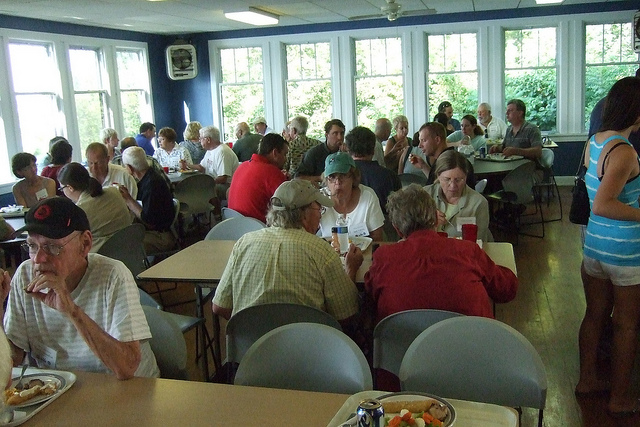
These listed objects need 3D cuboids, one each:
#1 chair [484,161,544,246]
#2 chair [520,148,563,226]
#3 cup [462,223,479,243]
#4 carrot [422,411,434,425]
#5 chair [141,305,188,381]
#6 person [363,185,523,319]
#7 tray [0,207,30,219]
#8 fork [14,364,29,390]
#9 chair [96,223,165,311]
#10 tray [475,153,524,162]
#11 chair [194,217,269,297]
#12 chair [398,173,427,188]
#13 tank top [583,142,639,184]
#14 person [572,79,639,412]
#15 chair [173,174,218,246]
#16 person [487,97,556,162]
[{"bbox_3d":[2.483,-0.274,6.774,0.681,1.011,1.725,1,17,21],"label":"chair"},{"bbox_3d":[2.990,-0.354,7.210,0.545,0.743,0.531,-9,-9,-33],"label":"chair"},{"bbox_3d":[0.902,0.115,3.230,0.090,0.119,0.097,-1,3,0],"label":"cup"},{"bbox_3d":[0.424,0.809,2.093,0.033,0.009,0.035,3,14,31],"label":"carrot"},{"bbox_3d":[-0.805,0.676,2.792,0.151,0.333,0.334,-13,17,-27],"label":"chair"},{"bbox_3d":[0.619,0.234,2.865,0.777,0.673,0.556,1,16,20],"label":"person"},{"bbox_3d":[-2.997,-0.004,5.285,0.218,0.049,0.237,-8,16,-10],"label":"tray"},{"bbox_3d":[-1.314,0.727,2.355,0.024,0.018,0.120,-5,32,-4],"label":"fork"},{"bbox_3d":[-1.586,0.290,4.368,0.163,0.388,0.456,4,18,28],"label":"chair"},{"bbox_3d":[2.244,-0.700,6.751,0.564,0.042,0.452,7,19,35],"label":"tray"},{"bbox_3d":[-0.681,0.330,4.450,0.594,0.825,0.578,-1,2,-6],"label":"chair"},{"bbox_3d":[0.991,-0.364,5.733,0.217,0.110,0.398,-13,18,-28],"label":"chair"},{"bbox_3d":[1.688,-0.323,3.110,0.220,0.216,0.184,-15,25,1],"label":"tank top"},{"bbox_3d":[1.759,0.219,3.223,0.376,2.003,0.467,-1,16,13],"label":"person"},{"bbox_3d":[-1.623,-0.139,6.962,0.548,0.996,0.653,-8,23,-21],"label":"chair"},{"bbox_3d":[2.702,-1.113,7.353,0.615,0.845,0.946,-6,5,-13],"label":"person"}]
